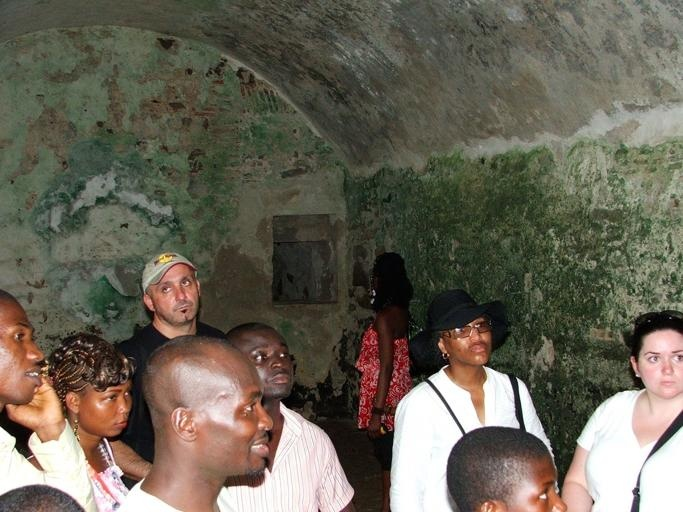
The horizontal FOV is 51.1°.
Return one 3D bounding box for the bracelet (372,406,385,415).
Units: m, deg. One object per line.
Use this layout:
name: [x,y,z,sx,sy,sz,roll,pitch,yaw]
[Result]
bracelet: [0.256,1.096,5.025,0.062,0.039,0.062,-1,1,-9]
